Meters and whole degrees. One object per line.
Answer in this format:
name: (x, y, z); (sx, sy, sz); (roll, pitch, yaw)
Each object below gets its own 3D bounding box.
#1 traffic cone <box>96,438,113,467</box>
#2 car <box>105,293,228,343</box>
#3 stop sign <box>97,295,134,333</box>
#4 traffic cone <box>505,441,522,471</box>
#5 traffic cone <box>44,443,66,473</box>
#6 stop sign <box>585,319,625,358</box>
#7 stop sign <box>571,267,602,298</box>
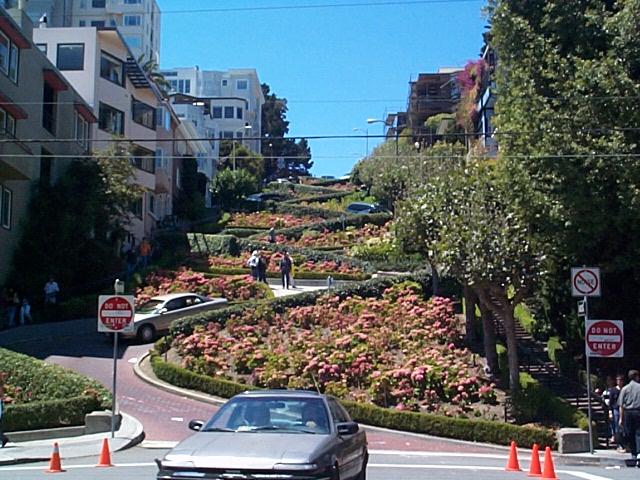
traffic cone: (-6.735, 6.752, 37.514); (0.619, 1.056, 0.701); (2, -11, -7)
car: (-6.323, 3.218, 52.287); (4.734, 1.824, 2.184); (-9, 7, -27)
stop sign: (-6.873, 2.468, 40.187); (1.042, 1.326, 0.055); (1, -5, -11)
traffic cone: (6.068, 7.053, 38.374); (0.636, 1.040, 0.718); (-7, -14, 39)
traffic cone: (-8.163, 6.799, 36.987); (0.650, 1.105, 0.744); (1, -10, -5)
stop sign: (9.383, 3.277, 39.683); (1.175, 1.454, 0.170); (-1, 1, 4)
stop sign: (8.968, 1.406, 40.546); (0.900, 1.152, 0.103); (1, 0, 2)
